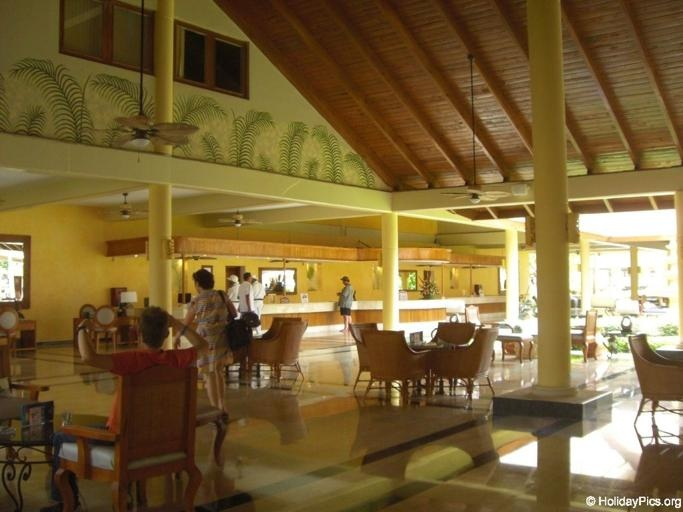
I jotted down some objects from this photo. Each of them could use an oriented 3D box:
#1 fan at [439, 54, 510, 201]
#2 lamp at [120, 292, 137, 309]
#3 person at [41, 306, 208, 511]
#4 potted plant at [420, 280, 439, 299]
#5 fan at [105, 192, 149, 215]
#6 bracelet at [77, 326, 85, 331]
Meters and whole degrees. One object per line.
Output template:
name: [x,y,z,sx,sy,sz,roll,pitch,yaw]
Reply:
fan: [2.684,-2.302,11.100,0.999,2.376,2.953,-1,-3,13]
lamp: [-5.722,1.184,14.962,0.516,0.515,0.494,-6,7,-31]
person: [-1.551,1.140,4.019,1.095,1.531,0.736,0,-3,-18]
potted plant: [3.038,1.140,19.056,0.636,0.657,0.701,0,0,41]
fan: [-5.471,-1.323,13.949,1.058,0.523,1.144,2,0,8]
bracelet: [-1.870,0.519,3.959,0.054,0.015,0.052,-1,-3,-8]
